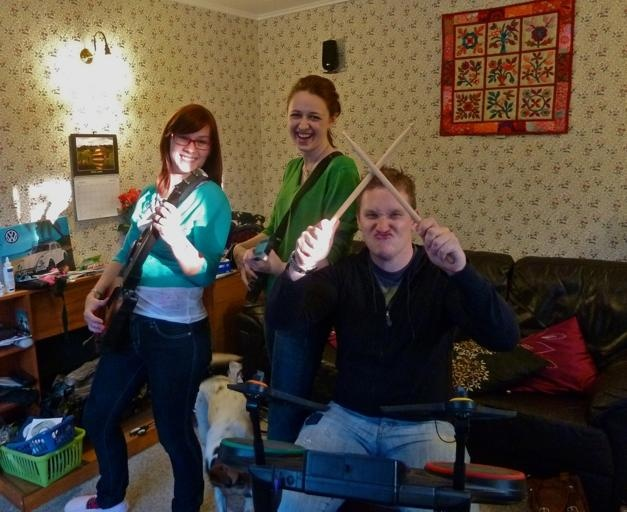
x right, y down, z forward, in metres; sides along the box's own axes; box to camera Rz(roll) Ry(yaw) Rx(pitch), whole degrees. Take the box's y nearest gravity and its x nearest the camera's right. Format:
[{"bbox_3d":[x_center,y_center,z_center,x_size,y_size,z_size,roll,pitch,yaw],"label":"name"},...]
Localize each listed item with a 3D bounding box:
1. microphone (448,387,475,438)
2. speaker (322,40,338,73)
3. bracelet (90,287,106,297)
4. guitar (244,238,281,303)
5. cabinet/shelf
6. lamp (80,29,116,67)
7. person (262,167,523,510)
[{"bbox_3d":[0.393,0.392,1.361,0.062,0.132,0.147,4,10,17],"label":"microphone"},{"bbox_3d":[0.140,-1.743,4.530,0.150,0.254,0.109,4,10,18],"label":"speaker"},{"bbox_3d":[-1.005,0.167,2.397,0.049,0.023,0.065,2,2,-32],"label":"bracelet"},{"bbox_3d":[-0.234,0.048,2.165,0.284,0.271,0.056,-8,-21,37],"label":"guitar"},{"bbox_3d":[-0.964,0.673,2.520,0.346,0.757,1.066,7,17,37],"label":"cabinet/shelf"},{"bbox_3d":[-1.494,-1.452,3.615,0.125,0.299,0.298,8,16,28],"label":"lamp"},{"bbox_3d":[0.239,0.277,1.853,0.929,1.166,0.601,5,10,22],"label":"person"}]
